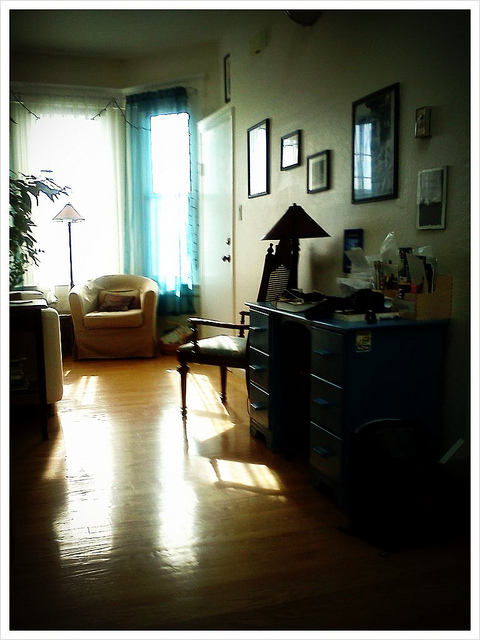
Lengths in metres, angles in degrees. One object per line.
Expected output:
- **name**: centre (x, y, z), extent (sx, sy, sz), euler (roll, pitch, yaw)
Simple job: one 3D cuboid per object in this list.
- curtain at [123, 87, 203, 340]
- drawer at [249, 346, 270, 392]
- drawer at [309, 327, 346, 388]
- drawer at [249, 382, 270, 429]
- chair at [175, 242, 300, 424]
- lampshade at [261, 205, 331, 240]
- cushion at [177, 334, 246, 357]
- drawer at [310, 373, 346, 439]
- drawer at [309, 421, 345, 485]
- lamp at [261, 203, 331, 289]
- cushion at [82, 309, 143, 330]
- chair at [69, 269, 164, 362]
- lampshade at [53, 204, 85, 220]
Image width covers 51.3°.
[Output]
- **curtain**: centre (-0.922, -1.224, 5.765), extent (0.760, 2.666, 0.127), euler (-6, 43, -13)
- **drawer**: centre (0.106, 0.249, 2.690), extent (0.134, 0.188, 0.234), euler (2, 4, -11)
- **drawer**: centre (0.320, 0.142, 1.922), extent (0.139, 0.131, 0.156), euler (2, 1, -10)
- **drawer**: centre (0.107, 0.465, 2.701), extent (0.130, 0.171, 0.227), euler (1, 4, -11)
- **chair**: centre (-0.017, 0.100, 3.214), extent (0.678, 1.166, 0.630), euler (10, 9, 44)
- **lampshade**: centre (0.321, -0.542, 2.761), extent (0.328, 0.191, 0.371), euler (-1, 0, -3)
- **cushion**: centre (-0.162, 0.164, 3.172), extent (0.429, 0.075, 0.397), euler (0, 5, 9)
- **drawer**: centre (0.341, 0.332, 1.948), extent (0.130, 0.179, 0.220), euler (1, 4, -11)
- **drawer**: centre (0.340, 0.522, 1.973), extent (0.100, 0.168, 0.138), euler (0, 3, -22)
- **lamp**: centre (0.295, -0.360, 2.673), extent (0.268, 0.502, 0.305), euler (1, 9, 17)
- **cushion**: centre (-1.259, -0.008, 4.933), extent (0.578, 0.188, 0.220), euler (-2, 5, -16)
- **chair**: centre (-1.302, -0.045, 5.242), extent (0.835, 0.989, 0.783), euler (-1, -1, -16)
- **lampshade**: centre (-1.801, -1.136, 5.228), extent (0.301, 0.166, 0.129), euler (-4, 5, -31)
